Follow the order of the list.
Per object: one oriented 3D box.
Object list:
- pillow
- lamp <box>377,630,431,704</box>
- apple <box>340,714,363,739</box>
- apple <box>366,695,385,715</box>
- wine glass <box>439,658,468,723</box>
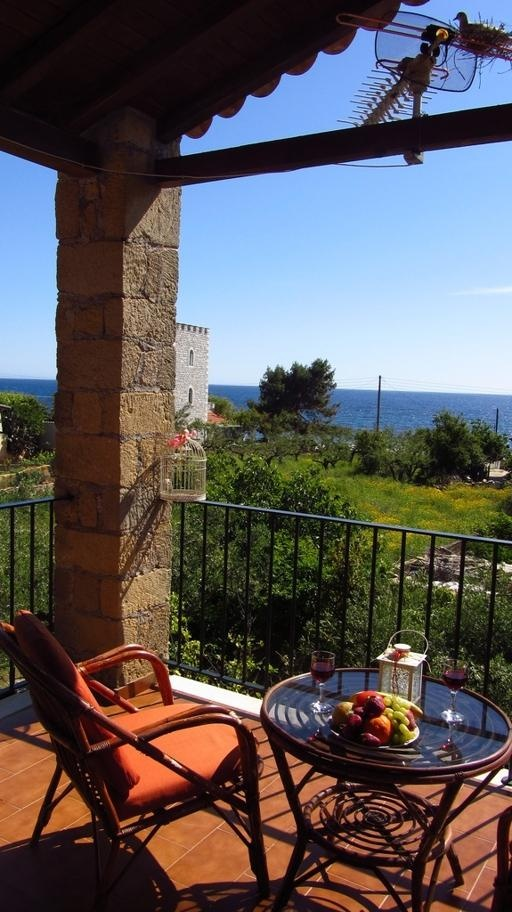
[{"bbox_3d":[-0.512,0.710,1.856,0.174,0.677,0.136,-18,4,21],"label":"pillow"},{"bbox_3d":[0.346,0.521,1.552,0.102,0.141,0.135,3,-8,12],"label":"lamp"},{"bbox_3d":[0.202,0.573,1.367,0.032,0.022,0.053,46,-18,8],"label":"apple"},{"bbox_3d":[0.250,0.532,1.368,0.036,0.042,0.033,-17,-9,31],"label":"apple"},{"bbox_3d":[0.475,0.555,1.560,0.051,0.143,0.179,2,-8,18],"label":"wine glass"}]
